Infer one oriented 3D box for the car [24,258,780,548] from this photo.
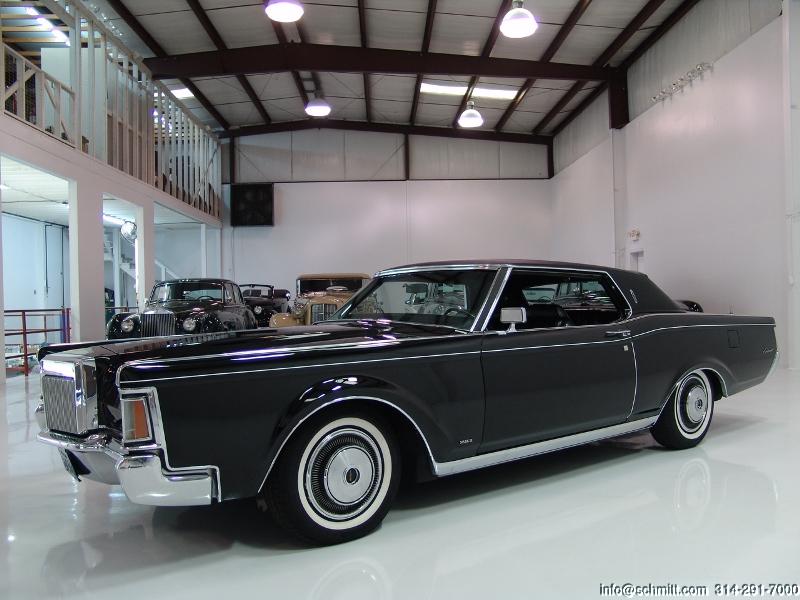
[{"bbox_3d":[0.210,0.501,3.455,4.253,1.492,1.216,-4,6,-31],"label":"car"}]
